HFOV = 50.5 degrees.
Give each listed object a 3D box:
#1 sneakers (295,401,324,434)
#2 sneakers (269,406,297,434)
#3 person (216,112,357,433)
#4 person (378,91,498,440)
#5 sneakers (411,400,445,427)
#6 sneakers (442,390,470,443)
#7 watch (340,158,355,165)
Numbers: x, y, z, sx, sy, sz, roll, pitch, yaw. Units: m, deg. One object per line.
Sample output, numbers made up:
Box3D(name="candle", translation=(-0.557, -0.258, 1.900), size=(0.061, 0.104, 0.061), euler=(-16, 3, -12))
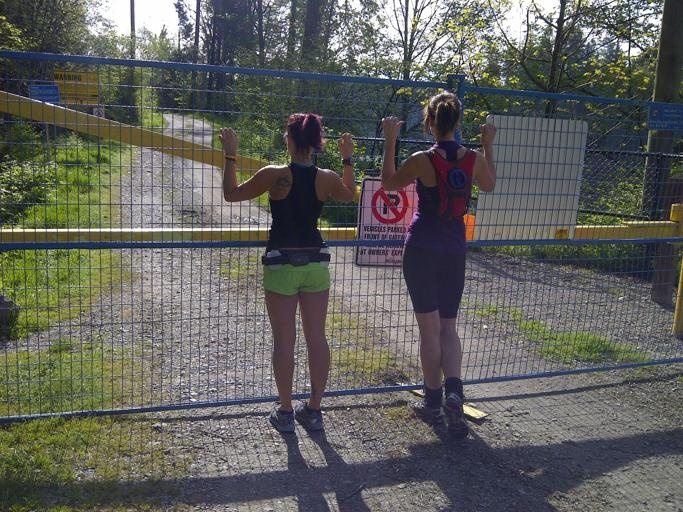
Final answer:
Box3D(name="sneakers", translation=(-0.334, 1.554, 7.126), size=(0.155, 0.179, 0.392), euler=(-3, 25, -32))
Box3D(name="sneakers", translation=(-0.561, 1.586, 6.956), size=(0.137, 0.155, 0.334), euler=(0, 14, -18))
Box3D(name="person", translation=(-0.508, 0.180, 6.876), size=(1.196, 3.017, 0.565), euler=(2, 12, 0))
Box3D(name="person", translation=(0.869, 0.049, 7.073), size=(1.078, 3.220, 1.169), euler=(5, 12, 11))
Box3D(name="sneakers", translation=(0.862, 1.563, 7.369), size=(0.173, 0.170, 0.367), euler=(-4, 16, -38))
Box3D(name="sneakers", translation=(1.088, 1.528, 6.838), size=(0.201, 0.475, 0.217), euler=(-6, 20, 14))
Box3D(name="watch", translation=(0.061, -0.905, 6.949), size=(0.096, 0.075, 0.107), euler=(-1, 8, 19))
